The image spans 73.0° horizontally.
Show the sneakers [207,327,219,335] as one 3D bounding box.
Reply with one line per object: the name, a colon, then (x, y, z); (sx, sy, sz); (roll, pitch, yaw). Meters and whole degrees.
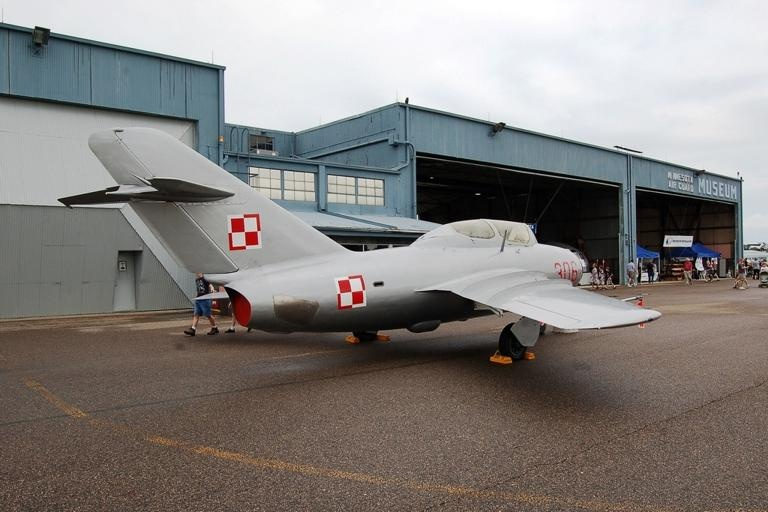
sneakers: (-4.733, 2.056, 14.205); (0.460, 0.200, 0.154); (-1, -6, 21)
